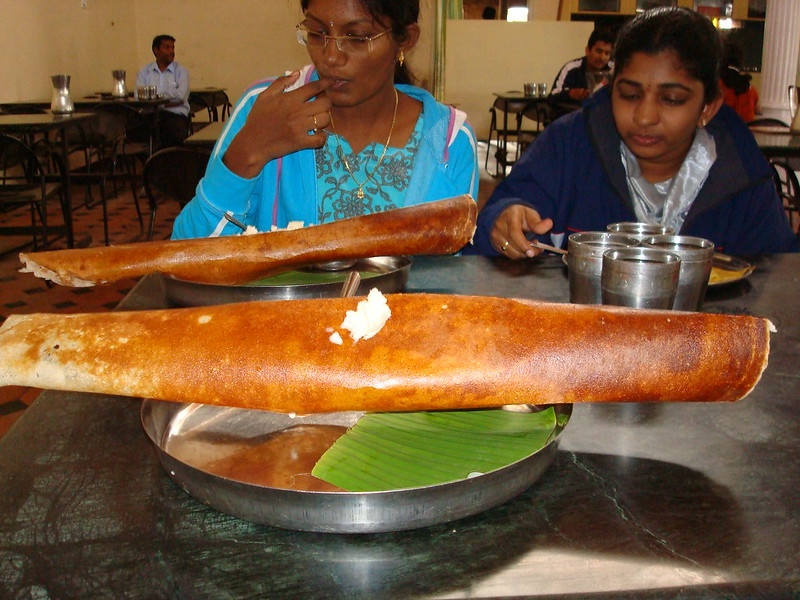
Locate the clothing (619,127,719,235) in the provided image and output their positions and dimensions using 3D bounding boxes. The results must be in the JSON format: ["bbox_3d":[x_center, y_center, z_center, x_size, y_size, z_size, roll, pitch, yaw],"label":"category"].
[{"bbox_3d":[0.788,-0.348,1.842,0.242,0.297,0.165,30,51,32],"label":"clothing"}]

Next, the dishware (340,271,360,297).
[{"bbox_3d":[-0.073,-0.023,0.955,0.012,0.042,0.044,10,10,19],"label":"dishware"}]

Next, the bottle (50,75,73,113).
[{"bbox_3d":[-2.707,-1.648,5.099,0.154,0.323,0.517,-7,15,-26],"label":"bottle"}]

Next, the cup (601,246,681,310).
[{"bbox_3d":[0.358,-0.029,0.998,0.105,0.119,0.107,2,14,0],"label":"cup"}]

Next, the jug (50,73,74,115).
[{"bbox_3d":[-2.677,-1.631,5.097,0.194,0.298,0.195,2,16,-7],"label":"jug"}]

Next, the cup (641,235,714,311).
[{"bbox_3d":[0.459,-0.062,1.100,0.120,0.144,0.127,-2,16,0],"label":"cup"}]
